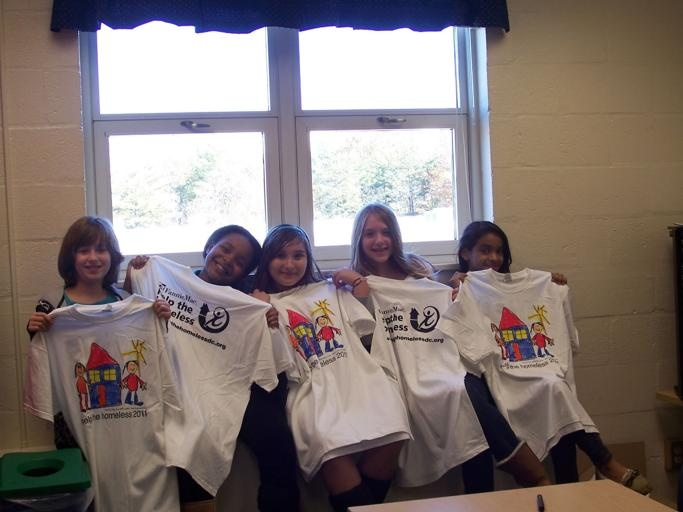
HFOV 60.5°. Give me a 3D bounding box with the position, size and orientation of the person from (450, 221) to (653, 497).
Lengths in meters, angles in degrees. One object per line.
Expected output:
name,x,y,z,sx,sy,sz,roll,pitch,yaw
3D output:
person,0.980,0.449,2.943,0.777,1.269,0.762,-4,5,7

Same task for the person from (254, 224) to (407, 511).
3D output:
person,-0.065,0.468,2.820,0.585,1.252,0.811,-6,5,-15

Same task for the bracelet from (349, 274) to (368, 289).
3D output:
bracelet,0.087,0.134,2.972,0.071,0.077,0.023,2,-12,23

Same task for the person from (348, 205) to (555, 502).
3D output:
person,0.351,0.417,3.436,1.137,1.280,0.370,-10,-9,-1
